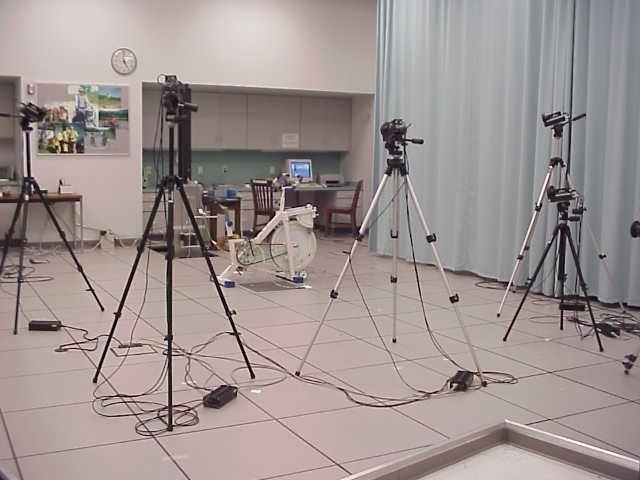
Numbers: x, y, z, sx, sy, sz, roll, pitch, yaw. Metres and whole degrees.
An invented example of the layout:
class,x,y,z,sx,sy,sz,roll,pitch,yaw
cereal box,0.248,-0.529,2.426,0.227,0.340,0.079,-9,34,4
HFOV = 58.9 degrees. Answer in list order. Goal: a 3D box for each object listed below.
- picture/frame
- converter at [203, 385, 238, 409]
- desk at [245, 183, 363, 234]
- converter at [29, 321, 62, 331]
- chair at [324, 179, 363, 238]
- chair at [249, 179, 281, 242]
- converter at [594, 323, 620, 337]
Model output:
class,x,y,z,sx,sy,sz,roll,pitch,yaw
picture/frame,-3.336,-1.696,7.795,1.218,1.029,0.019,-1,5,-22
converter,-0.584,0.905,3.312,0.092,0.054,0.158,3,8,24
desk,0.029,-0.748,10.042,1.574,1.103,0.854,-2,4,-16
converter,-2.161,0.671,4.439,0.151,0.043,0.115,1,3,-9
chair,0.397,-0.559,9.681,0.633,0.947,0.623,9,14,21
chair,-0.808,-0.498,9.267,0.598,0.906,0.632,2,5,15
converter,2.271,0.716,4.461,0.091,0.041,0.165,-10,13,-18
